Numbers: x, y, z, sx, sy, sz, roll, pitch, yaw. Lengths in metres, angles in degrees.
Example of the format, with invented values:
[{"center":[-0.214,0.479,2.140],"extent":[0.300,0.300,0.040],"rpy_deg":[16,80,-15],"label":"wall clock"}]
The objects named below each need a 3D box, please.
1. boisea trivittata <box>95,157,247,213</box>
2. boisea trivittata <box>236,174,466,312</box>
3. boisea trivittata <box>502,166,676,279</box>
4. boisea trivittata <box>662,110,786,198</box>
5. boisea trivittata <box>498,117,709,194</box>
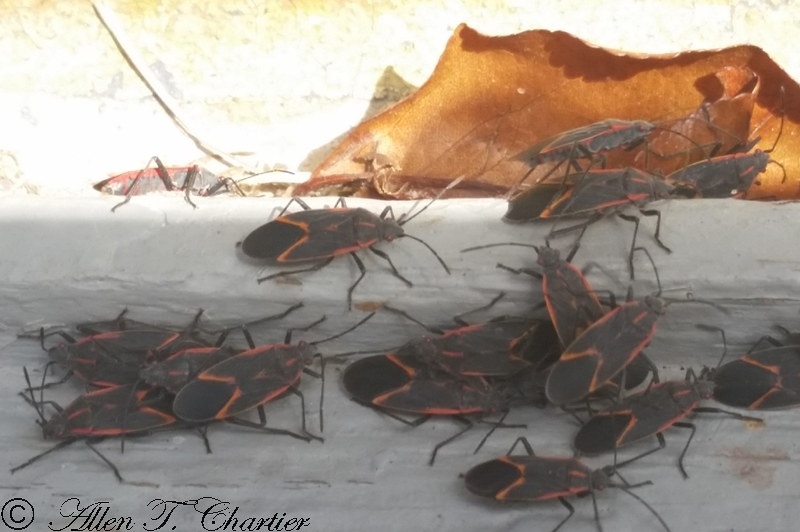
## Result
[{"center":[-0.965,-0.379,4.683],"extent":[0.587,0.155,0.412],"rpy_deg":[4,-6,41],"label":"boisea trivittata"},{"center":[-0.260,-0.130,4.287],"extent":[0.800,0.191,0.439],"rpy_deg":[-4,56,-2],"label":"boisea trivittata"},{"center":[0.841,-0.221,4.437],"extent":[0.596,0.158,0.510],"rpy_deg":[-8,62,6],"label":"boisea trivittata"},{"center":[1.475,-0.438,4.480],"extent":[0.503,0.304,0.141],"rpy_deg":[-14,13,10],"label":"boisea trivittata"},{"center":[0.916,-0.499,4.318],"extent":[0.720,0.171,0.479],"rpy_deg":[-6,-2,7],"label":"boisea trivittata"}]
